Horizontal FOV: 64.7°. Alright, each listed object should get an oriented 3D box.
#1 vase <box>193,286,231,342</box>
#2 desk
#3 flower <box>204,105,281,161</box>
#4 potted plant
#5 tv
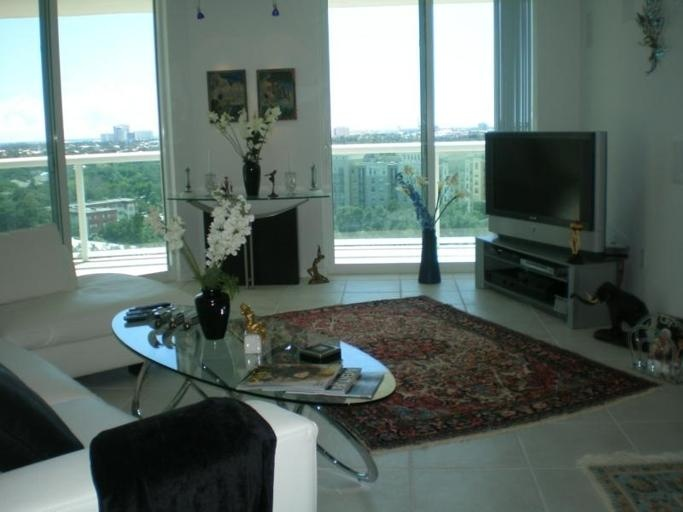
[{"bbox_3d":[-0.701,0.282,2.917,0.216,0.307,0.194,-3,-2,-33],"label":"vase"},{"bbox_3d":[-0.906,-0.206,5.747,0.742,0.948,1.488,7,-3,35],"label":"desk"},{"bbox_3d":[-0.935,-1.199,5.384,0.714,0.465,0.654,15,23,29],"label":"flower"},{"bbox_3d":[0.962,-0.393,5.981,0.781,1.225,0.820,1,14,12],"label":"potted plant"},{"bbox_3d":[1.853,-0.644,5.034,0.186,1.009,1.391,-11,15,-20],"label":"tv"}]
